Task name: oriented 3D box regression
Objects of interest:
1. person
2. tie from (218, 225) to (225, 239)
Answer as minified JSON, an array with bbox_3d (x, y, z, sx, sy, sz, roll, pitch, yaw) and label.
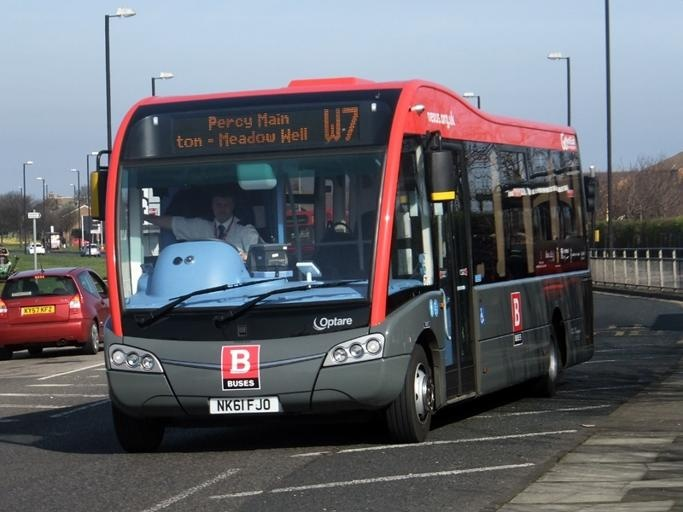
[{"bbox_3d":[-1.305,-0.194,7.929,0.750,0.326,0.755,4,-2,-40],"label":"person"},{"bbox_3d":[-1.170,-0.224,7.861,0.040,0.173,0.041,-1,-4,43],"label":"tie"}]
